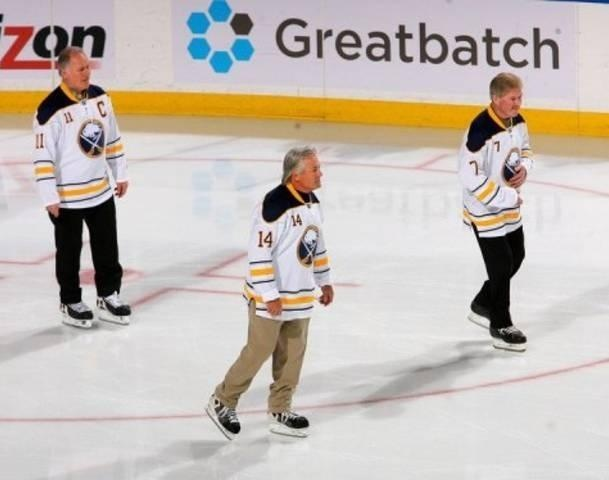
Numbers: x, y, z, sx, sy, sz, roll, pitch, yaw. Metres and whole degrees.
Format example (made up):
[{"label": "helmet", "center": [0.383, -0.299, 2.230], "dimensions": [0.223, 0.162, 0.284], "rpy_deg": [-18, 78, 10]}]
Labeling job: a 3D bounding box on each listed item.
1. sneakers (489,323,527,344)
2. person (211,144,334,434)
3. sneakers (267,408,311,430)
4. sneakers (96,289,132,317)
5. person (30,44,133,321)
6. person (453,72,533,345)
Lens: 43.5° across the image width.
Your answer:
[{"label": "sneakers", "center": [1.157, 0.522, 4.275], "dimensions": [0.090, 0.064, 0.167], "rpy_deg": [-2, 0, -39]}, {"label": "person", "center": [-0.156, 0.239, 3.372], "dimensions": [0.586, 1.277, 0.326], "rpy_deg": [-2, 9, -7]}, {"label": "sneakers", "center": [-0.066, 0.809, 3.463], "dimensions": [0.187, 0.087, 0.071], "rpy_deg": [-2, 3, 18]}, {"label": "sneakers", "center": [-1.190, 0.386, 4.753], "dimensions": [0.102, 0.127, 0.281], "rpy_deg": [-16, 17, -40]}, {"label": "person", "center": [-1.315, -0.199, 4.598], "dimensions": [0.613, 1.431, 0.366], "rpy_deg": [-7, 11, -35]}, {"label": "person", "center": [1.099, -0.170, 4.362], "dimensions": [0.400, 1.515, 0.431], "rpy_deg": [2, 10, 17]}]
